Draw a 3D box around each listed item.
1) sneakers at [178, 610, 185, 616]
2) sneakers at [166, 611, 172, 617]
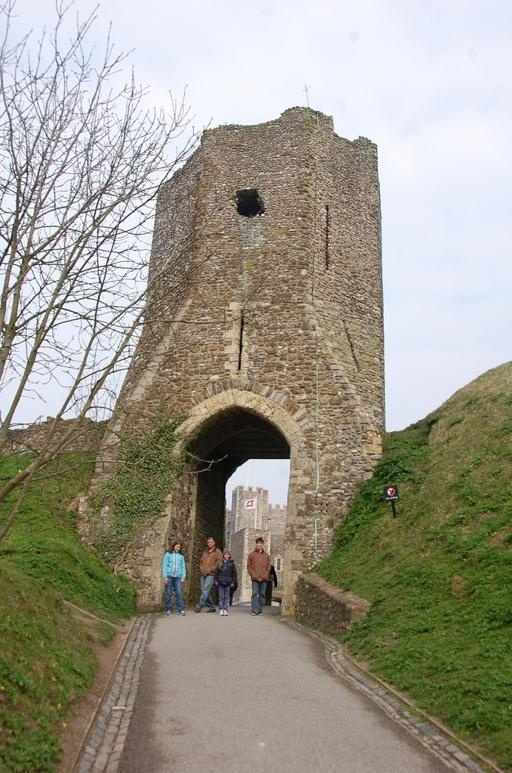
[{"bbox_3d":[-1.431,4.374,11.057,0.060,0.074,0.168,5,-16,-24],"label":"sneakers"},{"bbox_3d":[-1.690,4.392,11.055,0.046,0.059,0.133,2,1,-2],"label":"sneakers"}]
